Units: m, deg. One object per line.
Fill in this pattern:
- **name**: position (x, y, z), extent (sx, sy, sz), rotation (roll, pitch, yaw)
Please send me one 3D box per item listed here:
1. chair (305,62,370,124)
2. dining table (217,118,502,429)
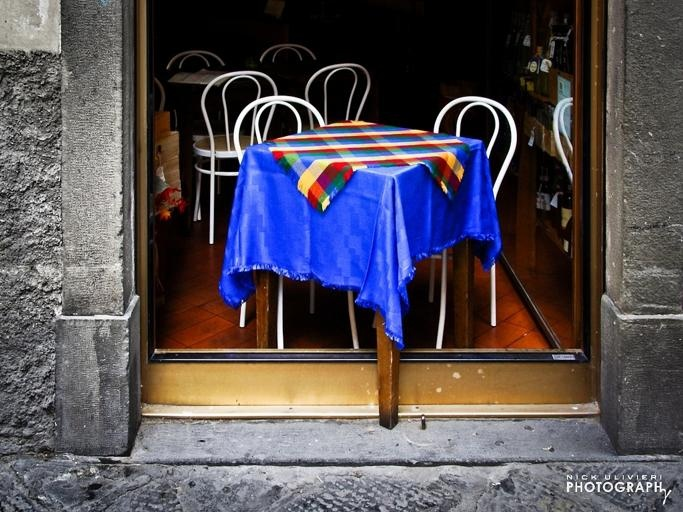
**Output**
- **chair**: position (-0.007, -1.297, 5.424), extent (0.326, 0.448, 0.360), rotation (1, 9, -26)
- **dining table**: position (0.094, -0.085, 3.516), extent (1.260, 1.276, 1.246), rotation (8, 18, 24)
